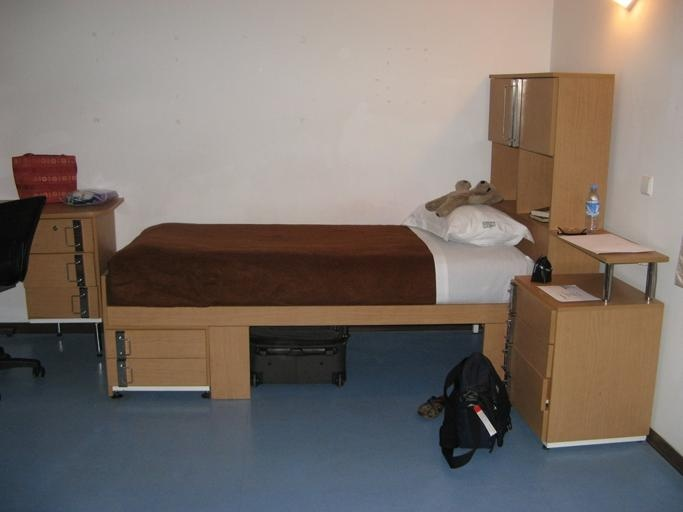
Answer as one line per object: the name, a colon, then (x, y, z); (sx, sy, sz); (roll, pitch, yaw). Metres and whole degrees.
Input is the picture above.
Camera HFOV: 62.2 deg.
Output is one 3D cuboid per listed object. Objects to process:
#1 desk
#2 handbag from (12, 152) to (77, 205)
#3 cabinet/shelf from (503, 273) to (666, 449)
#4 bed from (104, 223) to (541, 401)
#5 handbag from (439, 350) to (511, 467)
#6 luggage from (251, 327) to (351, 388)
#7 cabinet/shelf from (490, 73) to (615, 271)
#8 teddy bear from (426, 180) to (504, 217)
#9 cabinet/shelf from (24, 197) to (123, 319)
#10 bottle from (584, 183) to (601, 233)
desk: (1.603, -0.025, 3.286); (0.361, 0.272, 0.579); (-5, 15, -11)
handbag: (-2.381, -0.663, 4.465); (0.442, 0.388, 0.238); (-7, 34, -41)
cabinet/shelf: (1.503, 0.625, 3.610); (0.691, 0.856, 0.749); (-1, 11, -6)
bed: (-0.184, 0.332, 4.176); (2.916, 1.074, 0.942); (-1, 11, -2)
handbag: (0.785, 0.915, 3.456); (0.405, 0.580, 0.510); (-13, -14, 36)
luggage: (-0.284, 0.686, 4.008); (0.460, 0.261, 0.478); (1, 7, -1)
cabinet/shelf: (1.439, -0.549, 3.776); (0.363, 1.306, 1.177); (-2, 14, -3)
teddy bear: (0.971, -0.458, 4.416); (0.426, 0.166, 0.328); (-18, 22, -13)
cabinet/shelf: (-2.155, -0.023, 4.503); (0.575, 0.836, 0.849); (0, 17, -15)
bottle: (1.625, -0.303, 3.644); (0.095, 0.304, 0.239); (4, 12, 24)
